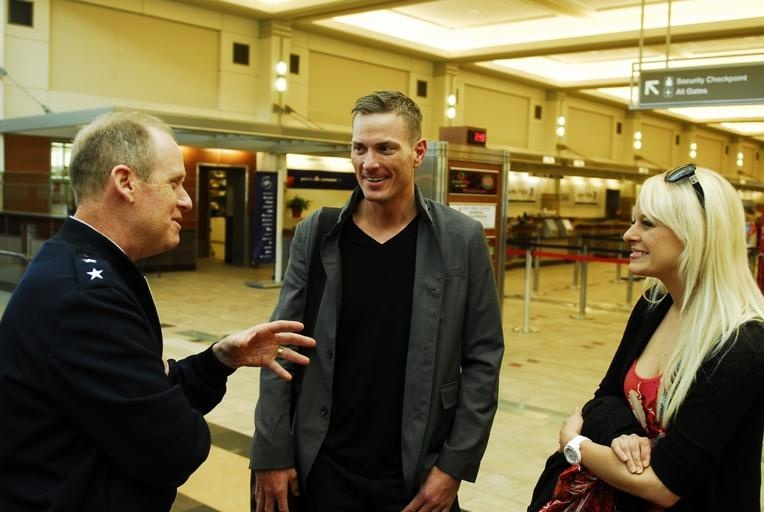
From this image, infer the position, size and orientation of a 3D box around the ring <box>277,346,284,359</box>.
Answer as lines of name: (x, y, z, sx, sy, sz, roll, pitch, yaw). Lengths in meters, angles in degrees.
ring: (-0.388, 0.372, 2.147, 0.023, 0.040, 0.038, 7, -2, -2)

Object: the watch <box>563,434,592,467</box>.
watch: (0.718, 0.712, 2.088, 0.111, 0.109, 0.073, 2, 18, -45)

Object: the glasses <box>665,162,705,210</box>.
glasses: (1.161, -0.278, 2.148, 0.150, 0.154, 0.051, -32, 4, 11)
